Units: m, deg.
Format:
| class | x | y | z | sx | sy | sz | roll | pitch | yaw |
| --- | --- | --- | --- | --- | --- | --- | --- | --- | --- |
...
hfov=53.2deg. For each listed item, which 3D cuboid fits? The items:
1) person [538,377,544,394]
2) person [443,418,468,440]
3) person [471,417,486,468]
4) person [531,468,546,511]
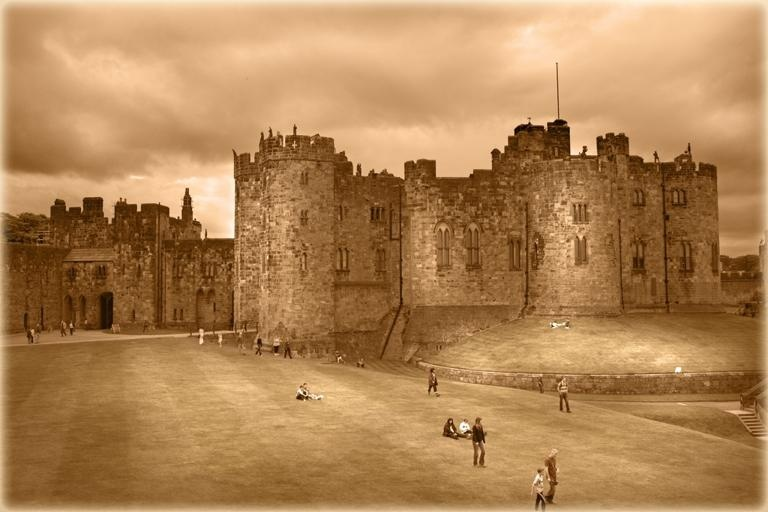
| class | x | y | z | sx | sy | sz | roll | pitch | yaw |
| --- | --- | --- | --- | --- | --- | --- | --- | --- | --- |
| person | 10.915 | 8.852 | 53.090 | 0.375 | 0.968 | 0.625 | 1 | -4 | 8 |
| person | 3.877 | 9.722 | 43.072 | 1.042 | 0.728 | 1.342 | 3 | -10 | -29 |
| person | 5.021 | 9.753 | 40.611 | 0.658 | 2.448 | 1.426 | 1 | -4 | 7 |
| person | 7.596 | 11.263 | 37.504 | 0.617 | 1.938 | 1.332 | 1 | -5 | 11 |
